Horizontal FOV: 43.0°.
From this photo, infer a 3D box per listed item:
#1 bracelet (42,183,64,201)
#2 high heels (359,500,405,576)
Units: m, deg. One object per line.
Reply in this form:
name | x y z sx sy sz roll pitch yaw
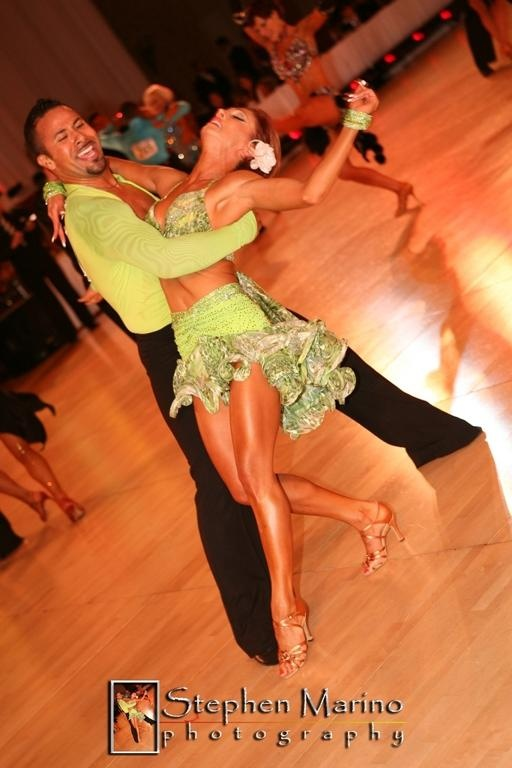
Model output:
bracelet | -0.589 -0.565 1.885 0.062 0.048 0.062 2 76 -3
high heels | 0.325 0.405 1.743 0.104 0.221 0.079 2 20 -21
